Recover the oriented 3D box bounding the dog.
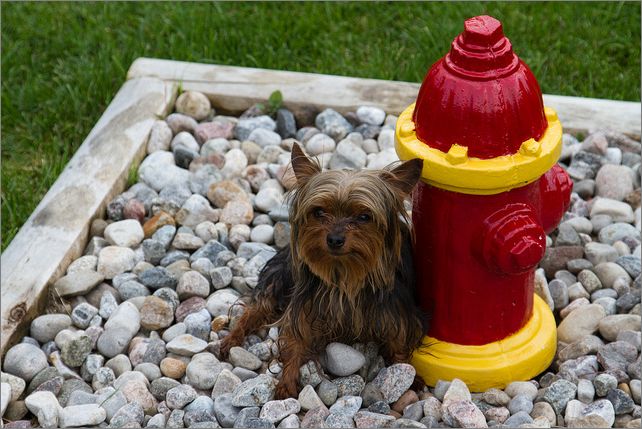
[{"bbox_3d":[0.016,0.267,4.508,1.187,1.357,1.684,-2,13,-8],"label":"dog"}]
